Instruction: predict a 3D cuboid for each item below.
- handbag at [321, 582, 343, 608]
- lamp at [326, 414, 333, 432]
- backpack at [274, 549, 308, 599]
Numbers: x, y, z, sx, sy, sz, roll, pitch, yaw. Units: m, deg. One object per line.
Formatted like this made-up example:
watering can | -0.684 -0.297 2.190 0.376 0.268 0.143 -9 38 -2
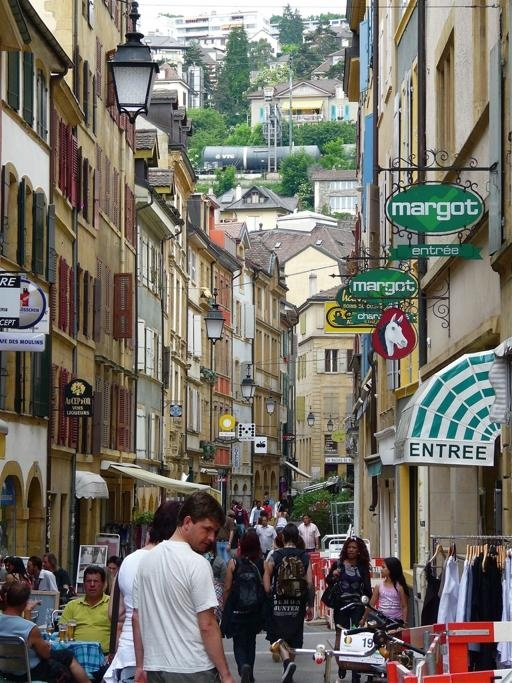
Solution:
handbag | 0.751 2.563 16.513 0.158 0.421 0.254 3 -7 -7
lamp | 4.324 4.863 97.186 0.360 1.061 0.939 1 -12 -4
backpack | 0.356 2.221 16.067 0.395 0.595 0.317 2 -38 1
